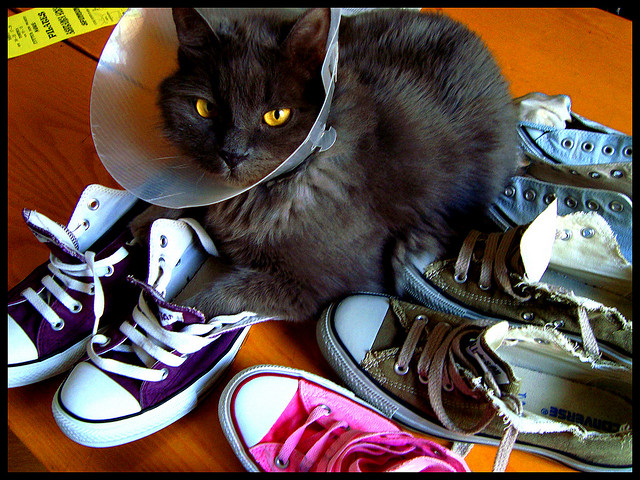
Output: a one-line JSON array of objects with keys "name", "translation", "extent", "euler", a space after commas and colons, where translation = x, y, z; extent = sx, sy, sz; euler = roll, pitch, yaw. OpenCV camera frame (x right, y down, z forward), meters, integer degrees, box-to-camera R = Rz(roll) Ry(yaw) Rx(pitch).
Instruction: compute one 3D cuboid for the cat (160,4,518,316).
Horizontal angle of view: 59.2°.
[{"name": "cat", "translation": [0.050, -0.239, 1.254], "extent": [0.694, 0.499, 0.535], "euler": [-32, 48, -8]}]
